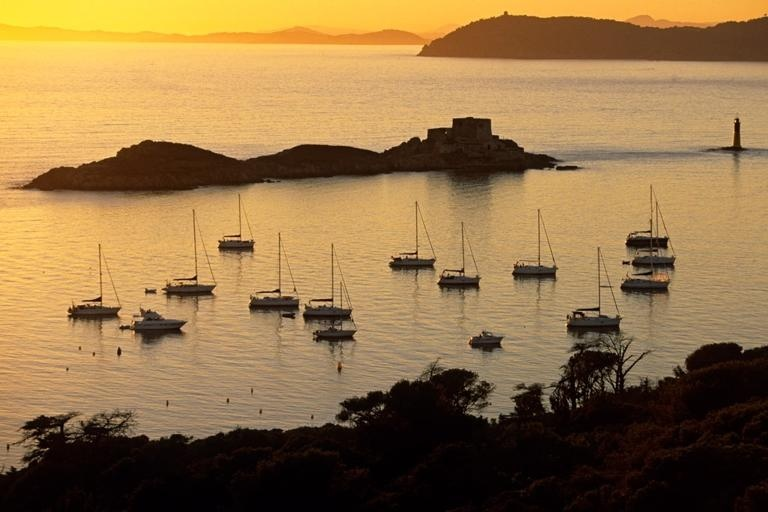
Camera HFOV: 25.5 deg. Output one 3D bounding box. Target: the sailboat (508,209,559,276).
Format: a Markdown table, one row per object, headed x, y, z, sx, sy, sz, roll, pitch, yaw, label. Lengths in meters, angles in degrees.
| x | y | z | sx | sy | sz | roll | pitch | yaw | label |
| --- | --- | --- | --- | --- | --- | --- | --- | --- | --- |
| 14.518 | -1.202 | 161.255 | 4.137 | 5.395 | 20.396 | -1 | 3 | 6 | sailboat |

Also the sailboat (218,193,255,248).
| x | y | z | sx | sy | sz | roll | pitch | yaw | label |
| --- | --- | --- | --- | --- | --- | --- | --- | --- | --- |
| -14.445 | -2.330 | 166.709 | 3.390 | 3.522 | 12.329 | -1 | 3 | -5 | sailboat |

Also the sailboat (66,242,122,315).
| x | y | z | sx | sy | sz | roll | pitch | yaw | label |
| --- | --- | --- | --- | --- | --- | --- | --- | --- | --- |
| -24.855 | 2.388 | 144.899 | 4.691 | 5.374 | 1.256 | -2 | 6 | -20 | sailboat |

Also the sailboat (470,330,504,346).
| x | y | z | sx | sy | sz | roll | pitch | yaw | label |
| --- | --- | --- | --- | --- | --- | --- | --- | --- | --- |
| 8.323 | 6.797 | 138.575 | 3.546 | 1.245 | 1.047 | -2 | 15 | -5 | sailboat |

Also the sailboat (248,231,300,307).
| x | y | z | sx | sy | sz | roll | pitch | yaw | label |
| --- | --- | --- | --- | --- | --- | --- | --- | --- | --- |
| -9.230 | 1.984 | 148.326 | 3.856 | 5.739 | 2.817 | 5 | -6 | -5 | sailboat |

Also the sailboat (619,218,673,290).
| x | y | z | sx | sy | sz | roll | pitch | yaw | label |
| --- | --- | --- | --- | --- | --- | --- | --- | --- | --- |
| 24.057 | 1.241 | 153.409 | 4.742 | 3.395 | 11.281 | 0 | 3 | 9 | sailboat |
